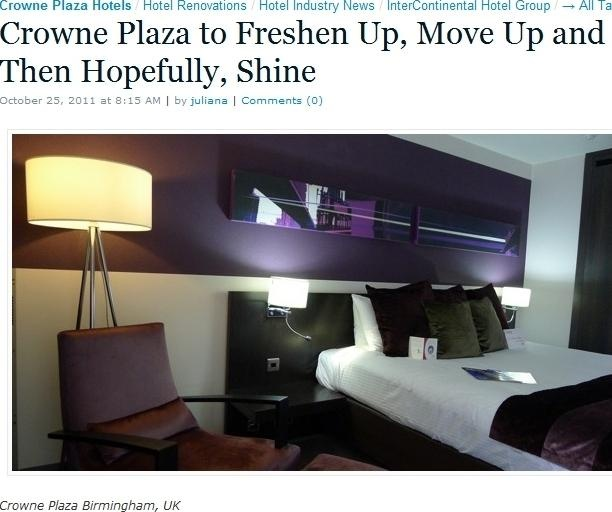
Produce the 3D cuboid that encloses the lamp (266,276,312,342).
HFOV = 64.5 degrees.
[{"bbox_3d":[-0.105,0.331,3.419,0.328,0.446,0.259,3,1,37],"label":"lamp"}]

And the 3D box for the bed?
[{"bbox_3d":[1.165,0.894,3.197,1.734,0.494,1.671,-1,-1,-21],"label":"bed"}]

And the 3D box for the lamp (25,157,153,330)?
[{"bbox_3d":[-1.260,0.084,2.868,0.633,1.393,0.408,-4,18,-34],"label":"lamp"}]
